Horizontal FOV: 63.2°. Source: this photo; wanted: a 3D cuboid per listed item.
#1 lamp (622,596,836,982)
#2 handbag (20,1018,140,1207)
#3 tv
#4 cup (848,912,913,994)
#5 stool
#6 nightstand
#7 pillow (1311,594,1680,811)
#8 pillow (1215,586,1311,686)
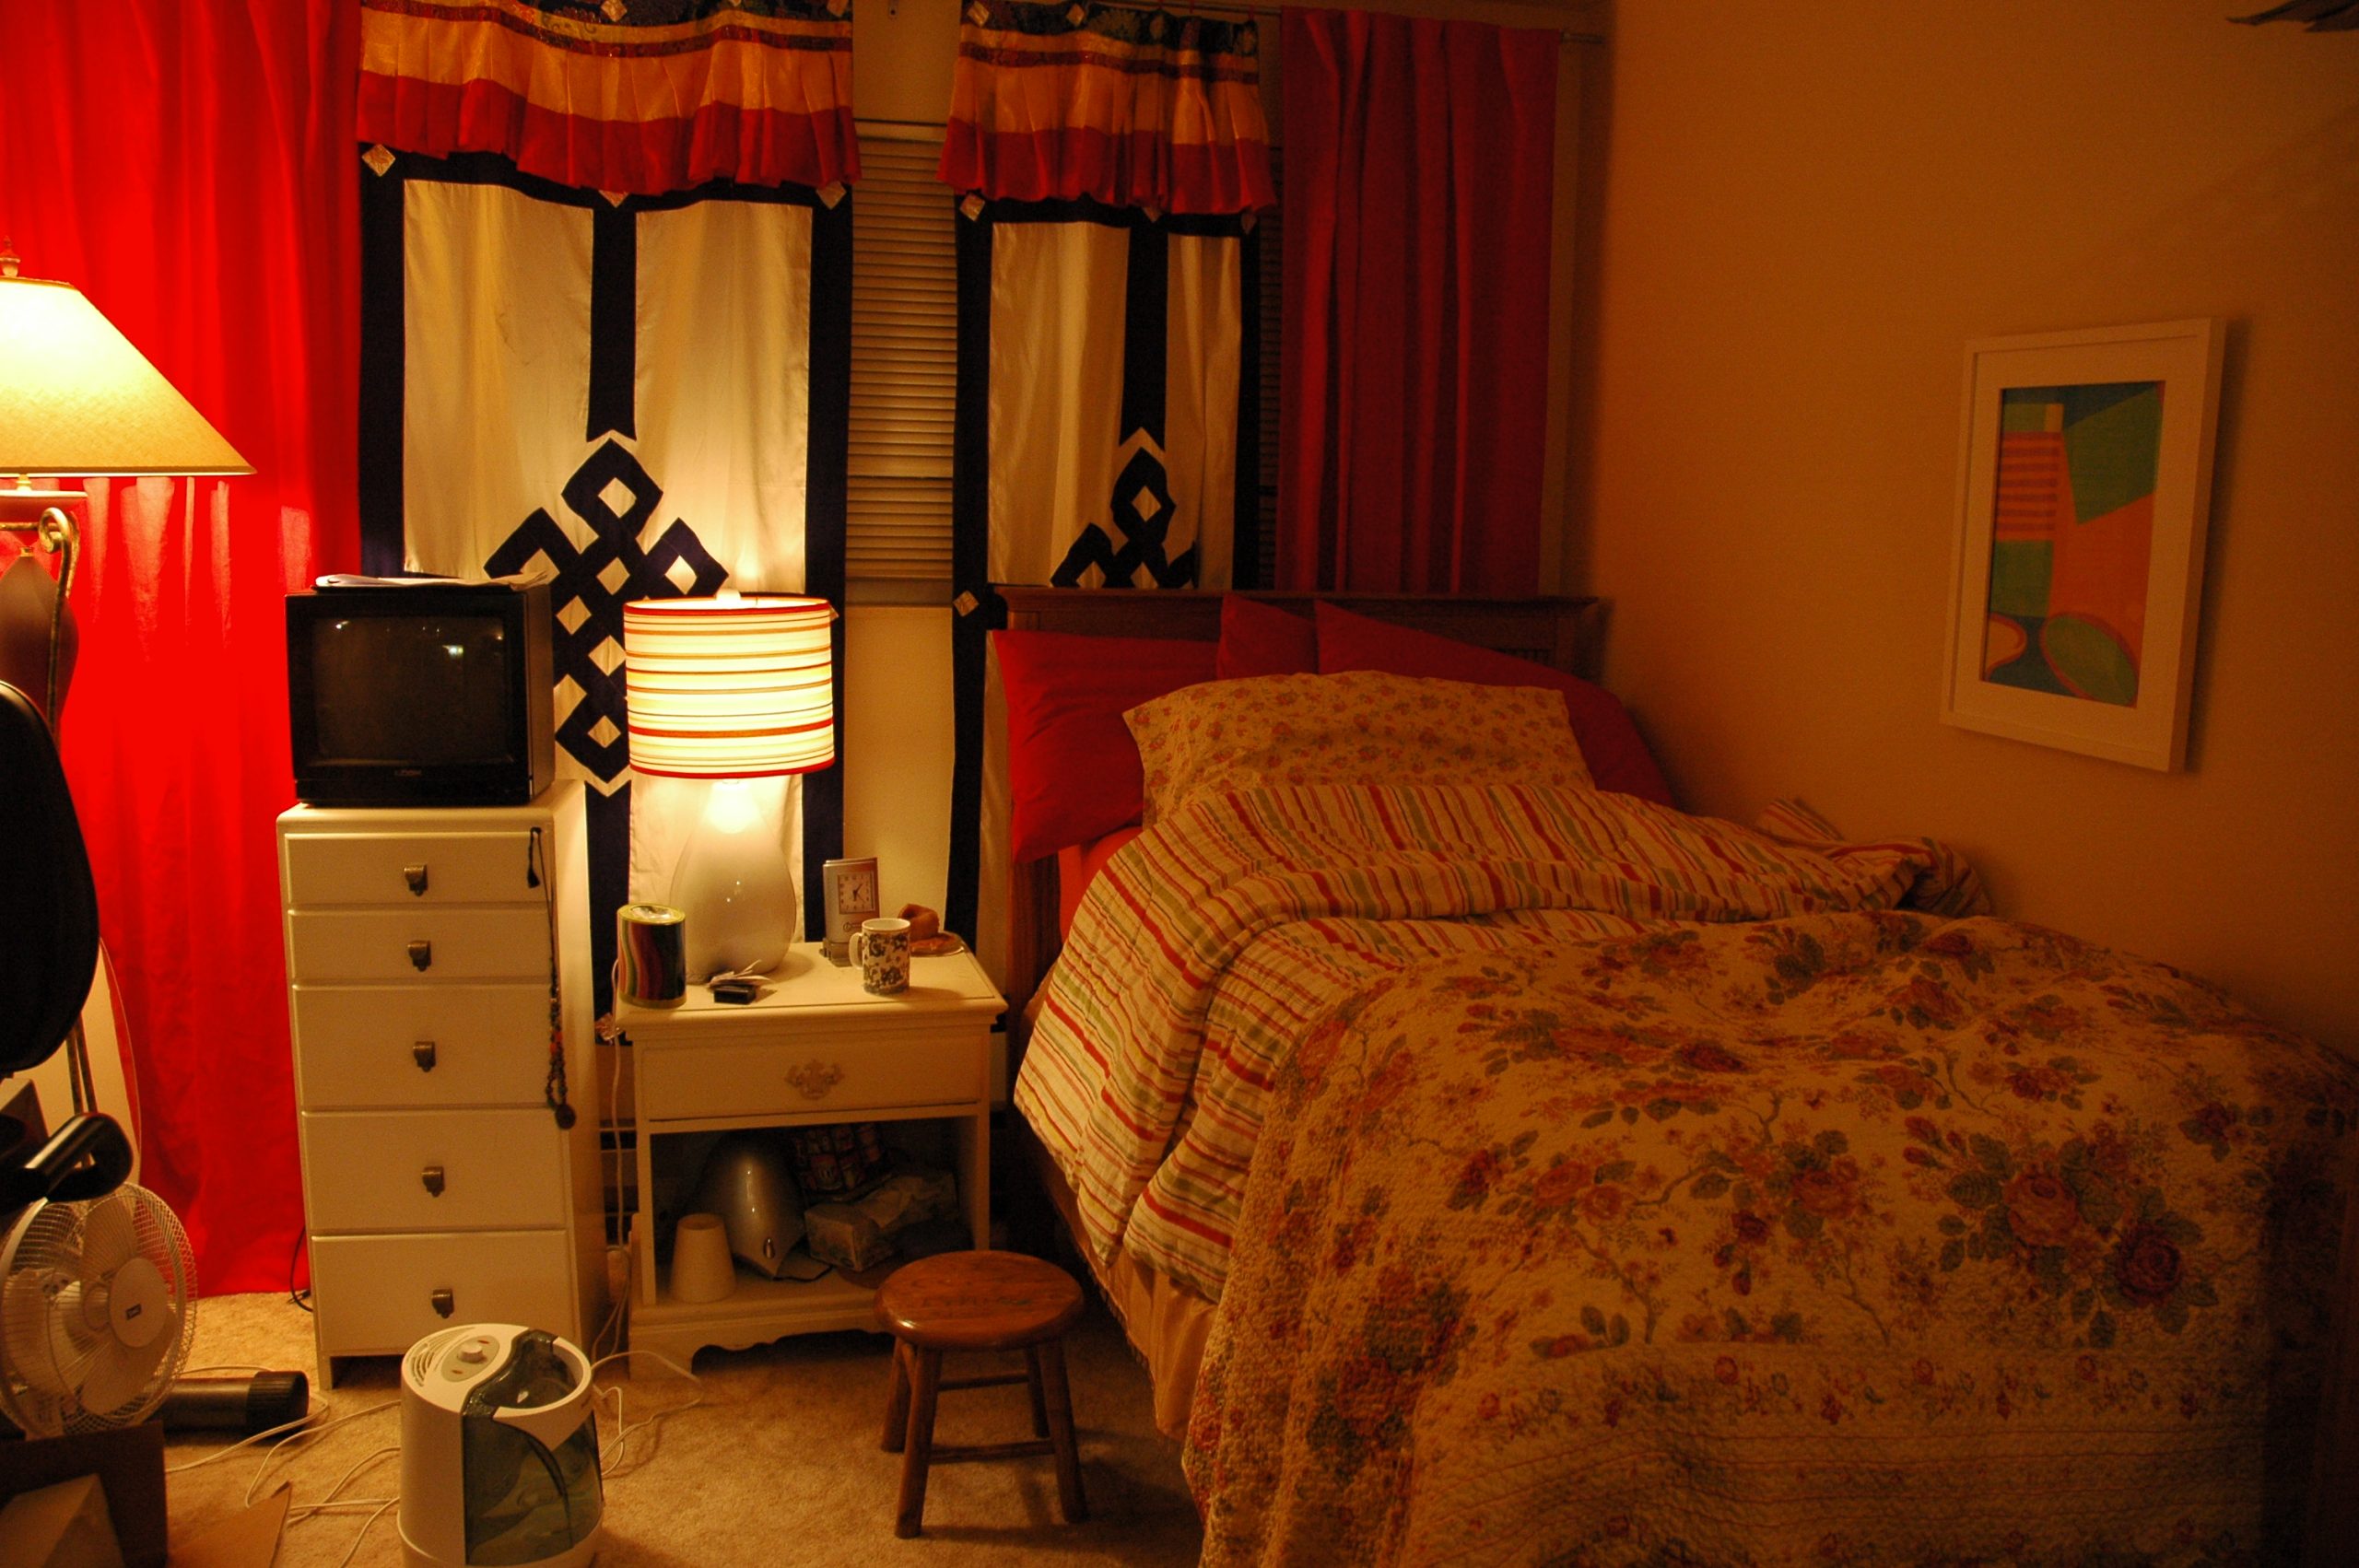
[{"bbox_3d":[-0.914,0.010,4.024,0.439,0.749,0.432,-2,-1,-7],"label":"lamp"},{"bbox_3d":[-1.866,0.576,3.246,0.158,0.203,0.981,-8,10,-31],"label":"handbag"},{"bbox_3d":[-1.463,-0.167,3.852,0.517,0.491,0.405,0,-2,-8],"label":"tv"},{"bbox_3d":[-0.579,0.349,3.916,0.146,0.150,0.095,3,4,33],"label":"cup"},{"bbox_3d":[-0.391,1.053,3.523,0.426,0.480,0.439,0,8,-11],"label":"stool"},{"bbox_3d":[-0.721,0.637,4.126,0.980,0.981,0.718,-1,8,-12],"label":"nightstand"},{"bbox_3d":[0.674,-0.205,4.037,0.552,0.164,0.481,26,8,-4],"label":"pillow"},{"bbox_3d":[0.179,-0.305,4.054,0.216,0.234,0.086,-1,-9,0],"label":"pillow"}]
